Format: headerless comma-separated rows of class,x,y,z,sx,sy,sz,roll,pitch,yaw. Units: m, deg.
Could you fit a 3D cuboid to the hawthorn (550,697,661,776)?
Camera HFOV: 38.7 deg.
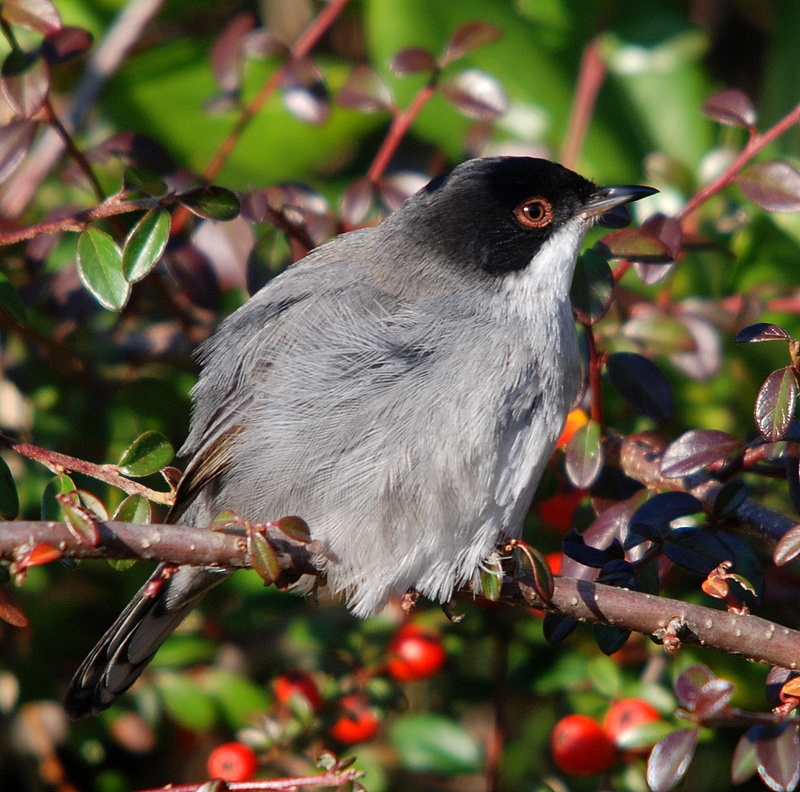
hawthorn,0.605,1.017,3.453,0.352,0.144,0.185,-23,39,-36
